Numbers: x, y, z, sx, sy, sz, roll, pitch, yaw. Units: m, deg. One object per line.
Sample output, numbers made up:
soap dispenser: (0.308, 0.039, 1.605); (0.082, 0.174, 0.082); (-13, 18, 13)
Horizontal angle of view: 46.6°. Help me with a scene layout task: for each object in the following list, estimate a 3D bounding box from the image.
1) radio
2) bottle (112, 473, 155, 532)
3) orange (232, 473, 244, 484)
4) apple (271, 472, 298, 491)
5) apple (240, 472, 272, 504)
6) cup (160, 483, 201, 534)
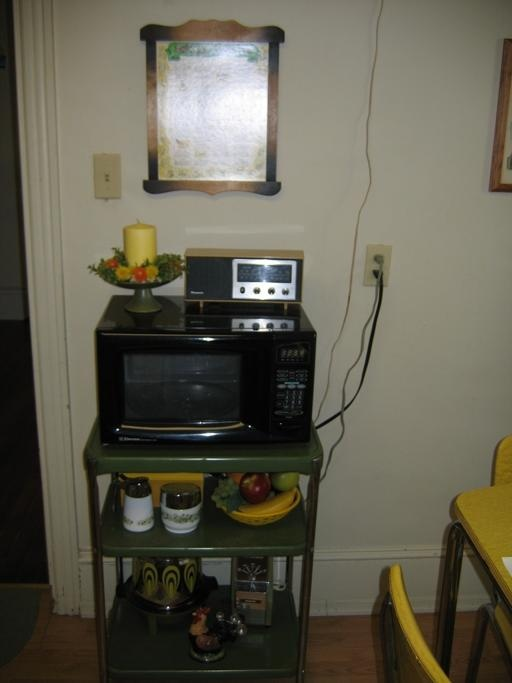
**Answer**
radio: (-0.029, -0.160, 1.529); (0.290, 0.147, 0.107); (2, 19, 3)
bottle: (-0.314, 0.432, 1.560); (0.077, 0.136, 0.132); (-1, 4, -15)
orange: (-0.052, 0.371, 1.635); (0.029, 0.030, 0.026); (-7, 13, -32)
apple: (0.077, 0.378, 1.597); (0.056, 0.055, 0.056); (9, 36, 27)
apple: (-0.002, 0.399, 1.647); (0.084, 0.083, 0.082); (-12, 52, 5)
cup: (-0.195, 0.438, 1.593); (0.106, 0.105, 0.112); (3, 7, 0)
